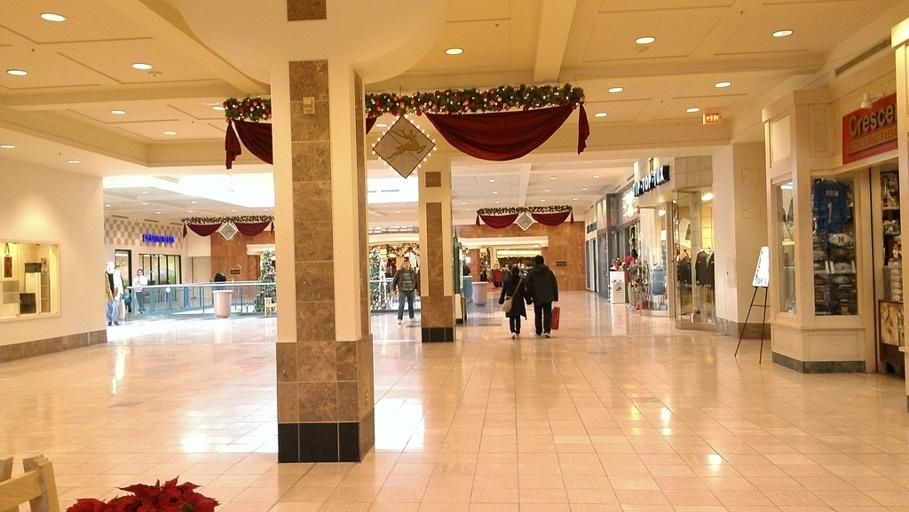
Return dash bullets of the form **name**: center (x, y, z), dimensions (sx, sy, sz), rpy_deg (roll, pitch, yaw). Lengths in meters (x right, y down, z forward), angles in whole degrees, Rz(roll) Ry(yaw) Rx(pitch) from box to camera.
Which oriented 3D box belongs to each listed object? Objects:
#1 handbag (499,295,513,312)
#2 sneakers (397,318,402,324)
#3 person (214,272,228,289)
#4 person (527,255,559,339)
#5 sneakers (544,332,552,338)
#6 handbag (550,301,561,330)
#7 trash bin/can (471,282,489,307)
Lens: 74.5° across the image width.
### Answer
- **handbag**: center (1.415, 1.297, 16.032), dimensions (0.231, 0.427, 0.446), rpy_deg (-2, 9, 0)
- **sneakers**: center (-1.762, 2.118, 19.262), dimensions (0.140, 0.145, 0.153), rpy_deg (-4, -3, 45)
- **person**: center (-10.808, 1.147, 27.467), dimensions (0.620, 1.002, 0.575), rpy_deg (-1, 2, 0)
- **person**: center (2.304, 1.083, 15.874), dimensions (0.789, 2.176, 0.841), rpy_deg (-1, 10, 6)
- **sneakers**: center (2.490, 2.109, 15.874), dimensions (0.135, 0.091, 0.132), rpy_deg (2, 1, -1)
- **handbag**: center (2.880, 1.746, 17.127), dimensions (0.337, 0.855, 0.965), rpy_deg (1, 0, 11)
- **trash bin/can**: center (1.039, 1.624, 25.814), dimensions (0.555, 0.975, 0.650), rpy_deg (-3, 10, -4)
